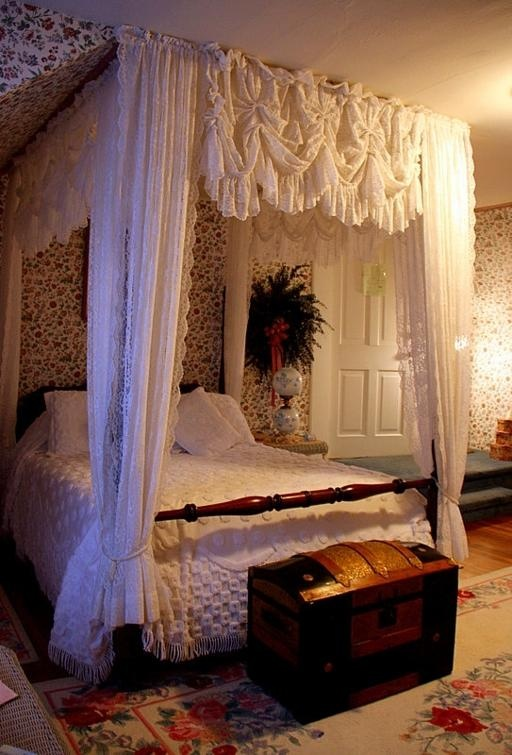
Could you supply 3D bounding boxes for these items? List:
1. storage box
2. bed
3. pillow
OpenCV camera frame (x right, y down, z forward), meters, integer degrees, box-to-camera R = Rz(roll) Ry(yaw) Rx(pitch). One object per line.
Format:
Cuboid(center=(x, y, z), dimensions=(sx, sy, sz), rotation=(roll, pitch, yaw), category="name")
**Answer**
Cuboid(center=(0.365, 0.904, 2.256), dimensions=(0.725, 0.484, 0.428), rotation=(0, 0, -31), category="storage box")
Cuboid(center=(-0.380, 0.622, 2.886), dimensions=(1.163, 0.614, 1.415), rotation=(-3, 6, -29), category="bed")
Cuboid(center=(-0.700, 0.290, 3.793), dimensions=(0.824, 0.241, 0.600), rotation=(1, 6, -28), category="pillow")
